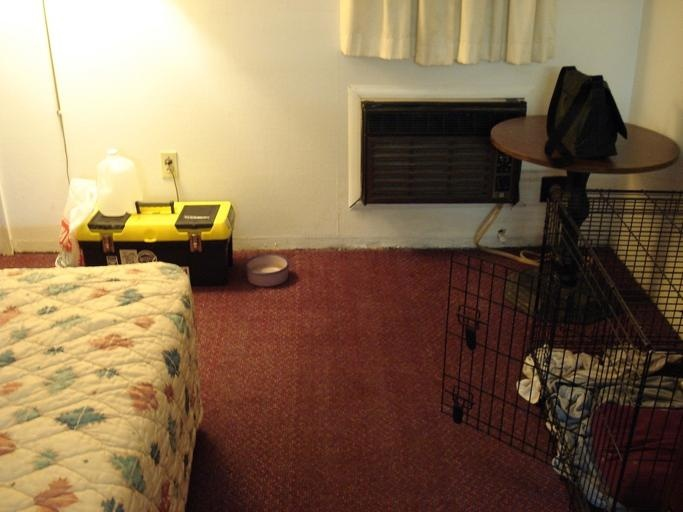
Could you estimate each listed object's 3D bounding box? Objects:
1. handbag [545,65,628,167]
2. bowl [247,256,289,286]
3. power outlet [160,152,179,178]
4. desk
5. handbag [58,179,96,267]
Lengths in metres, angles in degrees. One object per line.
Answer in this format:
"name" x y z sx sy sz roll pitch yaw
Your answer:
"handbag" 1.074 -0.619 2.405 0.275 0.372 0.520 -10 32 10
"bowl" -0.419 0.083 3.086 0.239 0.137 0.211 -8 17 -17
"power outlet" -0.997 -0.539 3.136 0.117 0.201 0.022 1 25 -2
"desk" 1.143 -0.244 2.651 0.818 0.840 0.801 2 16 16
"handbag" -1.467 -0.194 3.062 0.283 0.458 0.131 -1 -9 7
